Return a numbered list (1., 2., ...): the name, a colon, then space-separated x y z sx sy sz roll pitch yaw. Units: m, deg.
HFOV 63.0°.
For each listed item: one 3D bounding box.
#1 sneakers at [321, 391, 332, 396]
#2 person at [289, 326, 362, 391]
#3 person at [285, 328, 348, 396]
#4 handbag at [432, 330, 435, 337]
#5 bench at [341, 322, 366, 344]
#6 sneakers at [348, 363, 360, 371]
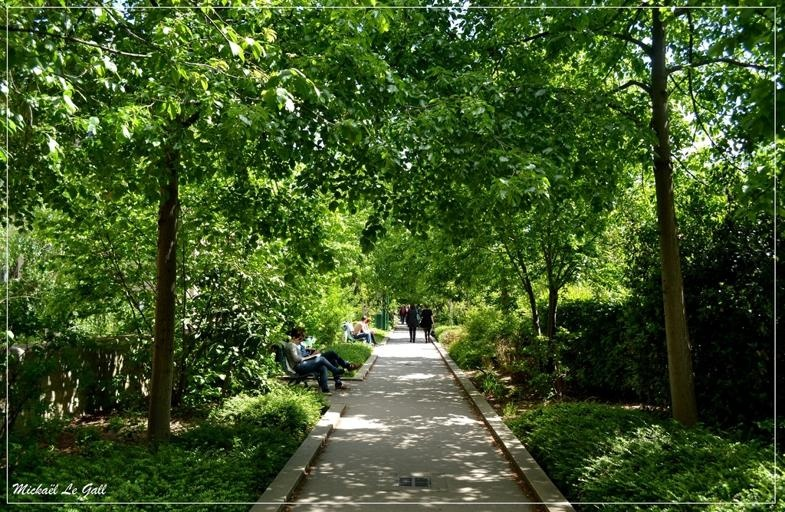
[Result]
1. sneakers: -1.499 3.183 14.837 0.191 0.093 0.072 -3 -8 2
2. person: -1.669 2.424 15.339 1.613 1.666 0.713 -6 -4 -1
3. person: -1.865 2.460 15.189 0.869 1.513 1.518 -6 -9 25
4. handbag: 2.230 4.279 35.253 0.204 0.401 0.217 -4 -19 12
5. bench: -1.795 3.271 27.657 0.834 1.060 0.924 -1 -3 14
6. sneakers: -1.019 2.970 17.054 0.222 0.171 0.584 5 -5 4
